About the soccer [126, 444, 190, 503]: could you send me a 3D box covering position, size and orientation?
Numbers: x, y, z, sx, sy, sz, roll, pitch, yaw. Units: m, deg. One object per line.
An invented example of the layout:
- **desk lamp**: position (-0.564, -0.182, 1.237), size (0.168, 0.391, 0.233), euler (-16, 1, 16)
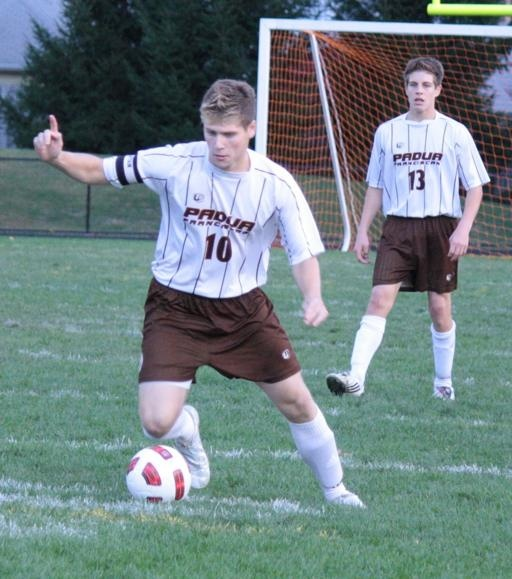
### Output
- **soccer**: position (-0.454, 0.837, 4.776), size (0.235, 0.256, 0.251), euler (-3, 34, -16)

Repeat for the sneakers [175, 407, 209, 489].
- **sneakers**: position (-0.315, 0.713, 4.994), size (0.093, 0.232, 0.077), euler (-33, -34, 25)

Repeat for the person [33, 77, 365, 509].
- **person**: position (-0.160, 0.029, 4.695), size (1.313, 1.949, 0.445), euler (0, 8, 2)

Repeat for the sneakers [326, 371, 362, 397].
- **sneakers**: position (0.540, 0.579, 6.343), size (0.131, 0.111, 0.292), euler (24, -5, 36)

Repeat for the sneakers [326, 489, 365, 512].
- **sneakers**: position (0.419, 0.968, 4.730), size (0.064, 0.085, 0.181), euler (-4, -3, -44)
